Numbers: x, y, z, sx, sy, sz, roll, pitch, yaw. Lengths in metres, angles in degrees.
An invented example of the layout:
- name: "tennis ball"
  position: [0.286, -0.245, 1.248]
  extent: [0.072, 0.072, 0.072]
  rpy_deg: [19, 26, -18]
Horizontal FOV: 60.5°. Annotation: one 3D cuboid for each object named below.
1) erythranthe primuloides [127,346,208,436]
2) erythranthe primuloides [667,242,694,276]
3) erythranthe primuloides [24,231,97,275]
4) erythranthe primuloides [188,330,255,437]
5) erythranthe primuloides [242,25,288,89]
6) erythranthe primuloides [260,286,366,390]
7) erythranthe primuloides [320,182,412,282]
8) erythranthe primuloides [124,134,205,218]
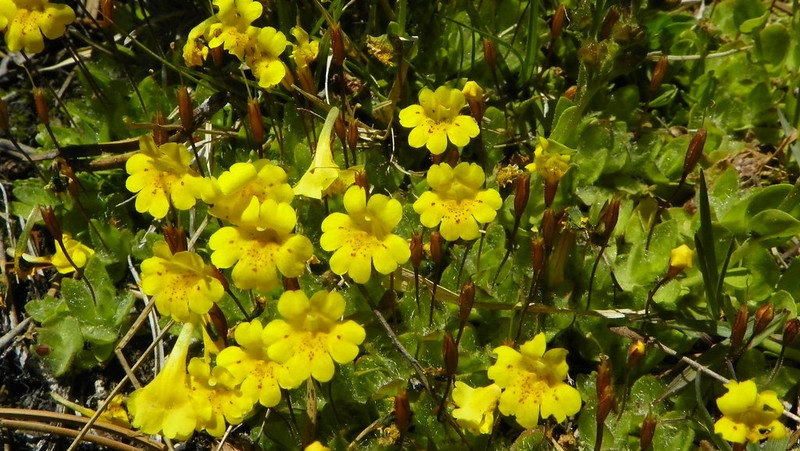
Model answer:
- name: "erythranthe primuloides"
  position: [-1.187, 0.793, 3.518]
  extent: [0.151, 0.529, 0.400]
  rpy_deg: [44, 63, -25]
- name: "erythranthe primuloides"
  position: [1.460, 0.178, 3.588]
  extent: [0.092, 0.156, 0.091]
  rpy_deg: [16, 38, -4]
- name: "erythranthe primuloides"
  position: [-1.997, 0.160, 4.030]
  extent: [0.398, 0.265, 0.174]
  rpy_deg: [-2, 113, -10]
- name: "erythranthe primuloides"
  position: [-0.929, 0.804, 3.527]
  extent: [0.310, 0.142, 0.431]
  rpy_deg: [-27, 91, 5]
- name: "erythranthe primuloides"
  position: [-0.701, -0.898, 3.748]
  extent: [0.268, 0.130, 0.312]
  rpy_deg: [-13, 89, 15]
- name: "erythranthe primuloides"
  position: [-0.427, 0.512, 3.297]
  extent: [0.497, 0.130, 0.497]
  rpy_deg: [14, 42, -13]
- name: "erythranthe primuloides"
  position: [-0.169, -0.008, 3.395]
  extent: [0.384, 0.387, 0.126]
  rpy_deg: [37, 43, -42]
- name: "erythranthe primuloides"
  position: [-1.184, -0.245, 3.472]
  extent: [0.388, 0.190, 0.419]
  rpy_deg: [1, 96, 9]
